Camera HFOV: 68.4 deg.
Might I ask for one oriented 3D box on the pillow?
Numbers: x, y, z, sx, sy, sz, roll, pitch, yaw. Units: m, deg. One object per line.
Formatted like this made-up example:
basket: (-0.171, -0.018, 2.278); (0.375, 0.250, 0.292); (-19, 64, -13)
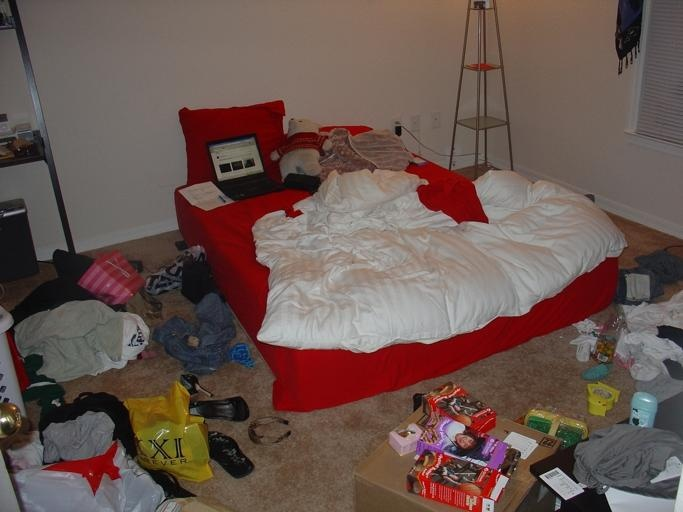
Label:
pillow: (-0.790, -0.808, 3.622); (0.588, 0.459, 0.219); (-14, -9, -16)

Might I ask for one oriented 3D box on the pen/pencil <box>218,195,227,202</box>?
pen/pencil: (-0.807, -0.389, 3.401); (0.028, 0.020, 0.123); (-45, 35, 3)

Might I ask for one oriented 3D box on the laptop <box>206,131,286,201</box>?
laptop: (-0.685, -0.609, 3.537); (0.501, 0.353, 0.501); (-19, 33, -23)
